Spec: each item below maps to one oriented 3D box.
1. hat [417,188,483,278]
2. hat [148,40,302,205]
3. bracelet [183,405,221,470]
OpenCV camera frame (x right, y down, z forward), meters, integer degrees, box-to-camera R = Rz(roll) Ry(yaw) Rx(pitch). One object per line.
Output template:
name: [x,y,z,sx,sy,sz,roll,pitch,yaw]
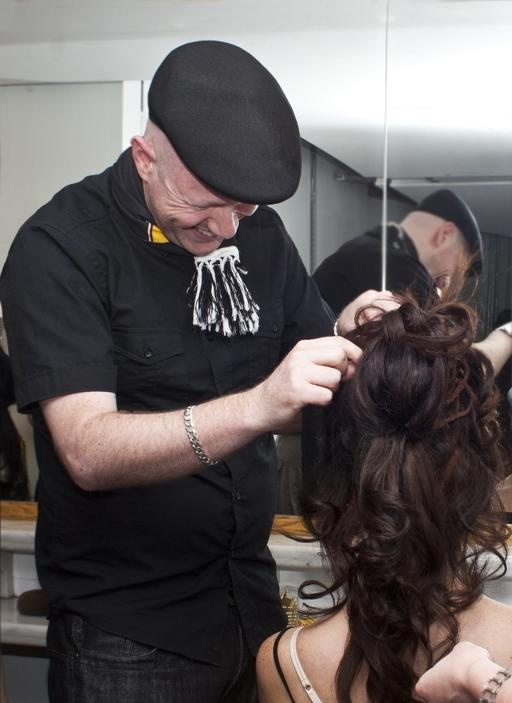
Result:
hat: [0.458,-0.274,1.574,0.067,0.185,0.135,-43,17,-21]
hat: [-0.047,-0.287,0.838,0.191,0.209,0.083,-6,0,3]
bracelet: [-0.068,0.100,0.783,0.024,0.070,0.041,-6,0,20]
